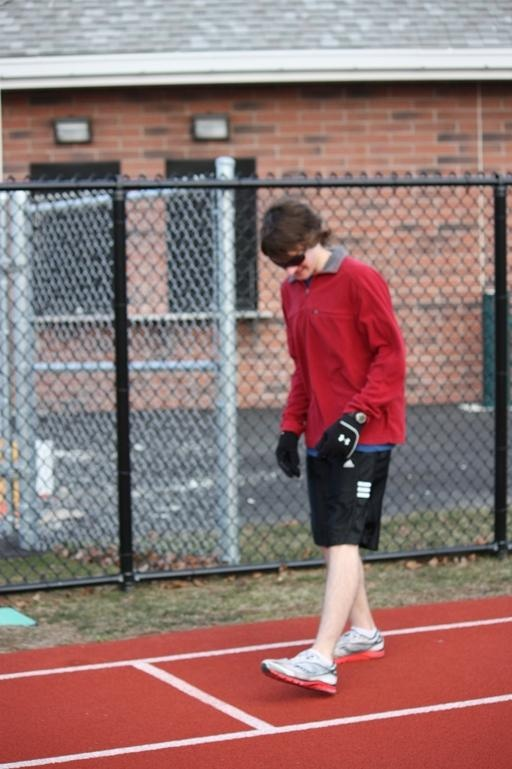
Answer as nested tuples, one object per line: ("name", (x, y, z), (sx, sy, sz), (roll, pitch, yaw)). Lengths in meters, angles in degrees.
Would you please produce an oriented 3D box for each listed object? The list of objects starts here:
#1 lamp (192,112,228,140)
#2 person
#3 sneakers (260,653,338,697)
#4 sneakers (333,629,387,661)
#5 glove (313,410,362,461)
("lamp", (-0.405, -2.213, 10.926), (0.313, 0.218, 0.075), (-5, 14, -14))
("person", (0.344, 0.279, 5.305), (0.617, 2.068, 0.846), (-4, 14, -8))
("sneakers", (0.197, 1.186, 5.083), (0.350, 0.175, 0.137), (18, -13, -20))
("sneakers", (0.457, 1.184, 5.589), (0.254, 0.126, 0.107), (0, -1, -17))
("glove", (0.352, 0.238, 5.144), (0.131, 0.230, 0.069), (25, 34, 4))
